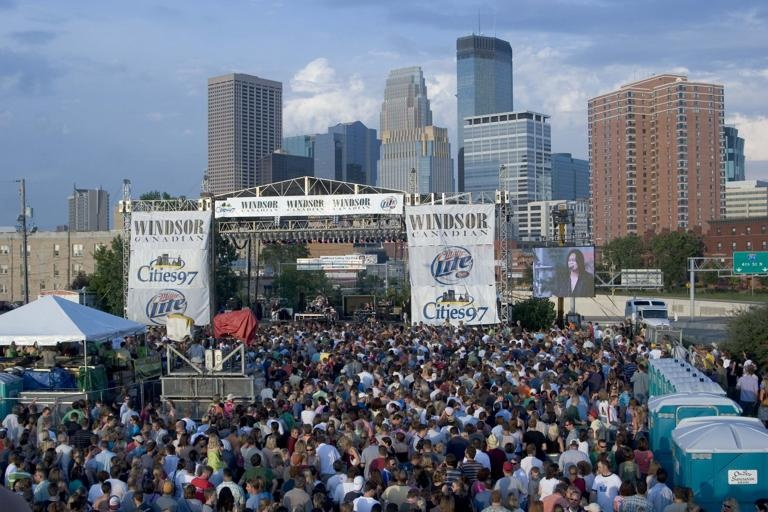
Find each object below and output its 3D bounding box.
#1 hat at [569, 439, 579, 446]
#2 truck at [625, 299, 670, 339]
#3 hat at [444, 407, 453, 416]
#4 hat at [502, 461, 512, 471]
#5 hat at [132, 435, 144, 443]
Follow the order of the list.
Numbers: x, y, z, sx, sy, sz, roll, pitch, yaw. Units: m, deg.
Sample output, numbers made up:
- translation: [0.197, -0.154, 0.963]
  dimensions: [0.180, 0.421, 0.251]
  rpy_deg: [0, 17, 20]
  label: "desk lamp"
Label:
- translation: [16.464, 16.211, 132.418]
  dimensions: [0.834, 0.696, 0.427]
  rpy_deg: [-3, 0, -20]
  label: "hat"
- translation: [27.963, 6.058, 160.587]
  dimensions: [2.494, 3.225, 7.101]
  rpy_deg: [-1, -6, 6]
  label: "truck"
- translation: [5.721, 13.565, 134.168]
  dimensions: [0.553, 0.738, 0.686]
  rpy_deg: [31, -27, 12]
  label: "hat"
- translation: [10.725, 18.142, 131.545]
  dimensions: [0.877, 0.967, 0.417]
  rpy_deg: [-3, 0, -22]
  label: "hat"
- translation: [-21.318, 15.834, 132.676]
  dimensions: [0.830, 0.700, 0.305]
  rpy_deg: [-3, 0, 7]
  label: "hat"
